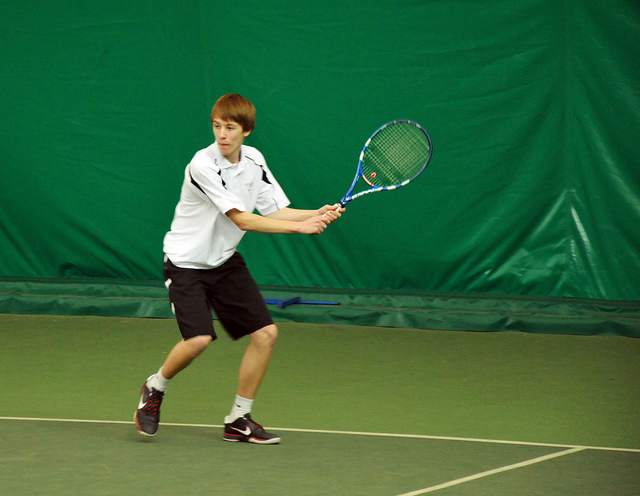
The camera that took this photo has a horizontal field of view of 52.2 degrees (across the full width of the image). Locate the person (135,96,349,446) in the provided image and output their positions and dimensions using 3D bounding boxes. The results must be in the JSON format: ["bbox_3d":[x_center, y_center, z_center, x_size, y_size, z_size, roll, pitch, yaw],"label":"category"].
[{"bbox_3d":[-0.452,0.105,3.330,0.995,1.731,0.610,-3,10,-21],"label":"person"}]

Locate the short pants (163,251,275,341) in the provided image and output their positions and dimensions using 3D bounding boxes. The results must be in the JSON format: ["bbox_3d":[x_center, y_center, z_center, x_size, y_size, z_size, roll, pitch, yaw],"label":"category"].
[{"bbox_3d":[-0.518,0.247,3.334,0.472,0.445,0.310,-3,10,-22],"label":"short pants"}]
